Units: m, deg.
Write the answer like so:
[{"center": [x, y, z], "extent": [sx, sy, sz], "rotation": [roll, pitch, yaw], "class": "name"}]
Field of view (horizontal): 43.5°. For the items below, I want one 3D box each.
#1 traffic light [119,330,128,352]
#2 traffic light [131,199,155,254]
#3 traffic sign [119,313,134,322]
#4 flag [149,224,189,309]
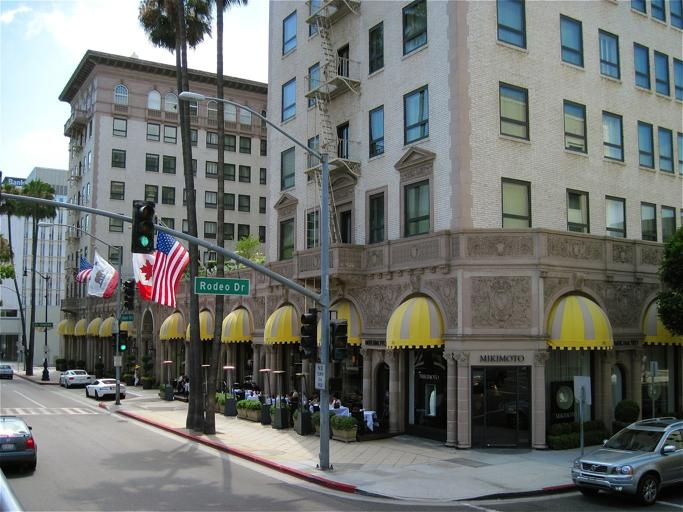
[{"center": [-14.261, 5.522, 56.247], "extent": [0.518, 1.353, 1.235], "rotation": [3, -10, -13], "class": "traffic light"}, {"center": [-7.867, -1.185, 34.196], "extent": [0.881, 2.173, 0.705], "rotation": [4, -10, -15], "class": "traffic light"}, {"center": [-15.157, 4.339, 60.644], "extent": [1.197, 0.869, 0.173], "rotation": [0, -2, -24], "class": "traffic sign"}, {"center": [-9.918, 0.743, 49.776], "extent": [1.594, 6.358, 1.947], "rotation": [6, -8, -40], "class": "flag"}]
